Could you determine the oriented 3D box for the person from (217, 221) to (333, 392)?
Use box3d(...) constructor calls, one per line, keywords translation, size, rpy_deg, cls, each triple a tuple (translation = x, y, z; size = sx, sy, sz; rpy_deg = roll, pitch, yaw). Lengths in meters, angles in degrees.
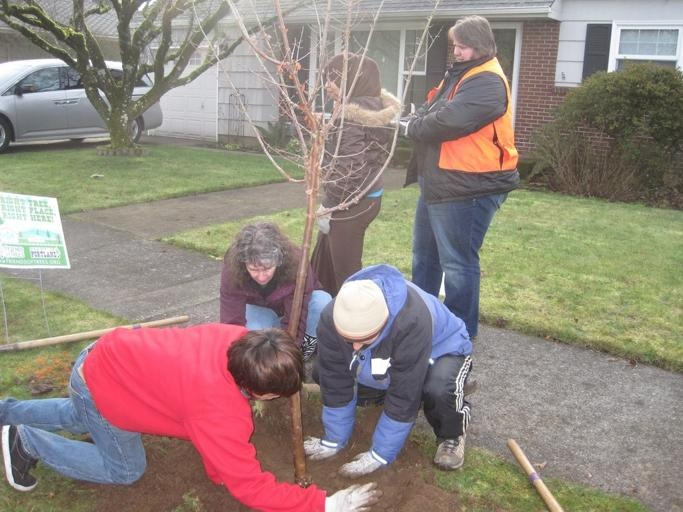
box3d(translation=(-0.494, 0.381, 3.504), size=(0.861, 0.982, 1.274), rpy_deg=(-1, -18, 5), cls="person")
